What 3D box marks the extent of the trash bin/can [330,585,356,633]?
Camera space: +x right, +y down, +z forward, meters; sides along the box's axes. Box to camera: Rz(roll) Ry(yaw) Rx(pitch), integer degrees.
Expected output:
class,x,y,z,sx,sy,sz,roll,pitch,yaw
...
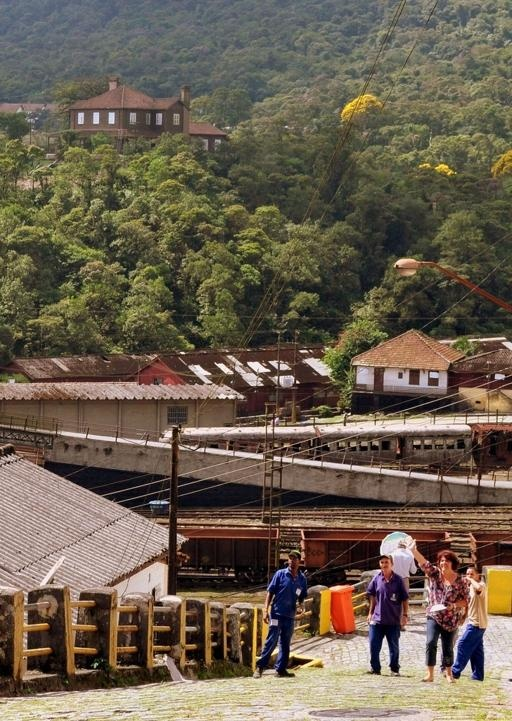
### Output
class,x,y,z,sx,sy,sz,roll,pitch,yaw
trash bin/can,1.669,4.844,30.373,0.470,0.944,0.952,1,1,11

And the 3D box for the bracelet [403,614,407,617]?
class,x,y,z,sx,sy,sz,roll,pitch,yaw
bracelet,2.266,3.880,23.700,0.045,0.043,0.045,33,-8,-35

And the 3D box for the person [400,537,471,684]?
class,x,y,z,sx,sy,sz,roll,pitch,yaw
person,2.746,3.789,23.219,0.771,2.103,0.849,0,2,-32

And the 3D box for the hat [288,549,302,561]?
class,x,y,z,sx,sy,sz,roll,pitch,yaw
hat,0.587,2.968,23.789,0.130,0.095,0.184,6,-20,20

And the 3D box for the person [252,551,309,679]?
class,x,y,z,sx,sy,sz,roll,pitch,yaw
person,0.366,3.934,24.056,0.763,2.054,0.932,1,1,0

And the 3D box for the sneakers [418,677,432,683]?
class,x,y,z,sx,sy,sz,roll,pitch,yaw
sneakers,2.560,4.795,23.454,0.202,0.086,0.062,19,-19,-38
